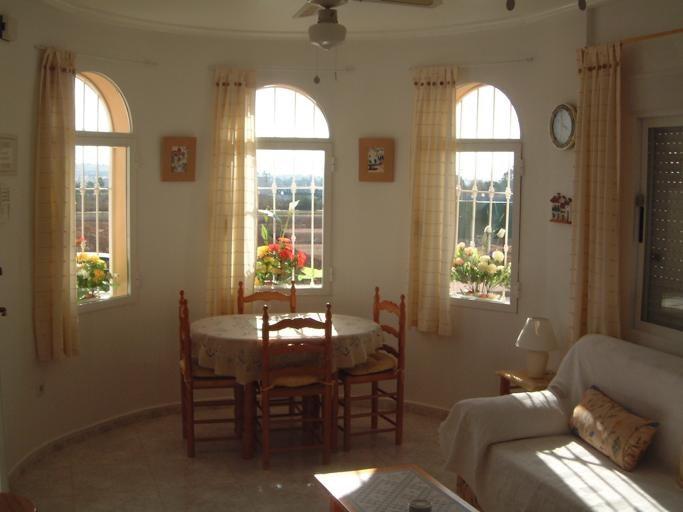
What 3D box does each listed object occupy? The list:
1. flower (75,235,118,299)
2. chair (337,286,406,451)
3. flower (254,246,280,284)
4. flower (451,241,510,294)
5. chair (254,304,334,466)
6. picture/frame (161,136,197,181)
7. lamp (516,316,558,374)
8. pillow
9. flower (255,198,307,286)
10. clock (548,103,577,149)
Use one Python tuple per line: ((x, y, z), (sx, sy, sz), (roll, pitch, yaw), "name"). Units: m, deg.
((-2.225, 0.105, 4.904), (0.294, 0.543, 0.214), (-3, 8, -26), "flower")
((0.211, 0.994, 4.880), (0.652, 1.265, 0.721), (1, 0, -29), "chair")
((-0.741, 0.088, 5.586), (0.304, 0.373, 0.338), (0, 2, 12), "flower")
((1.324, 0.145, 5.218), (0.448, 0.534, 0.444), (3, -3, -15), "flower")
((-0.434, 1.018, 4.496), (0.673, 1.247, 0.669), (2, -3, -25), "chair")
((-1.541, -0.938, 5.172), (0.301, 0.432, 0.044), (-5, 41, -23), "picture/frame")
((1.573, 0.712, 4.324), (0.287, 0.459, 0.290), (4, 11, 31), "lamp")
((1.703, 1.073, 3.435), (0.147, 0.248, 0.431), (36, 1, -24), "pillow")
((-0.612, -0.159, 5.593), (0.474, 0.780, 0.488), (13, 1, -8), "flower")
((1.838, -1.068, 4.472), (0.053, 0.360, 0.277), (-2, 8, -20), "clock")
